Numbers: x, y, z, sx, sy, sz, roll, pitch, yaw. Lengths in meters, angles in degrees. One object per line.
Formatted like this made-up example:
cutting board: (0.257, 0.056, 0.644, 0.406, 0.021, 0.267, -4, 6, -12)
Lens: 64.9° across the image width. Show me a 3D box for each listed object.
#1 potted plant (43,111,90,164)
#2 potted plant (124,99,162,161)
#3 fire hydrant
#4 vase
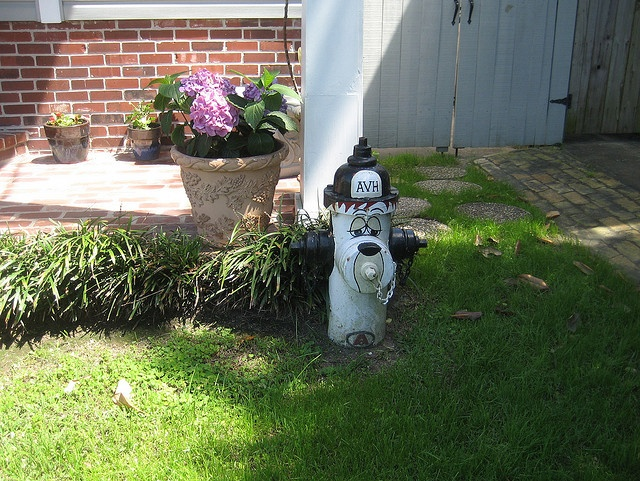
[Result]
potted plant: (-2.827, -1.165, 5.734, 0.564, 0.525, 0.587, 2, 13, 12)
potted plant: (-2.013, -1.241, 5.841, 0.340, 0.587, 0.356, 7, 18, 22)
fire hydrant: (0.209, 0.027, 2.884, 0.720, 1.201, 0.349, 3, 17, 7)
vase: (-0.661, -0.416, 3.773, 0.837, 0.635, 0.826, -24, 37, -39)
